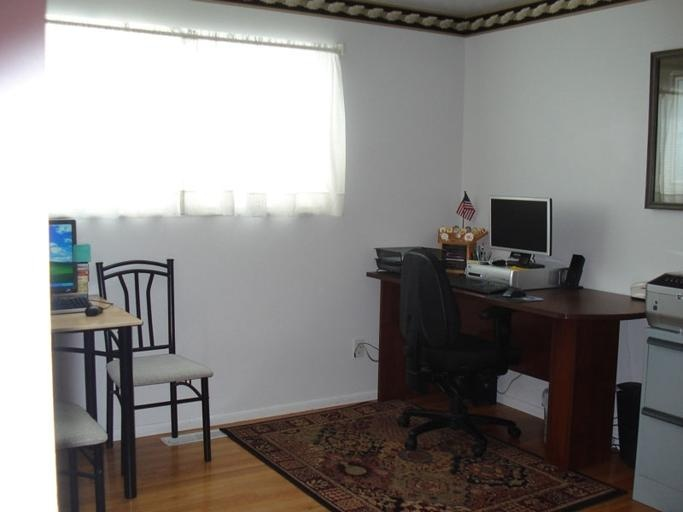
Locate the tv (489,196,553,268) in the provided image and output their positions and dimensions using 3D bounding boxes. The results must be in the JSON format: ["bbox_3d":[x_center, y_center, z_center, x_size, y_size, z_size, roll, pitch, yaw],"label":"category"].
[{"bbox_3d":[1.163,-0.164,3.621,0.121,0.345,0.455,-4,6,-24],"label":"tv"}]

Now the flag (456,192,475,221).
[{"bbox_3d":[0.980,-0.398,4.420,0.150,0.233,0.267,1,7,12],"label":"flag"}]

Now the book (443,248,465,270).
[{"bbox_3d":[0.823,0.024,4.083,0.073,0.128,0.130,10,-15,-34],"label":"book"}]

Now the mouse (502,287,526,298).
[{"bbox_3d":[0.991,0.208,3.218,0.092,0.031,0.065,-5,7,-19],"label":"mouse"}]
